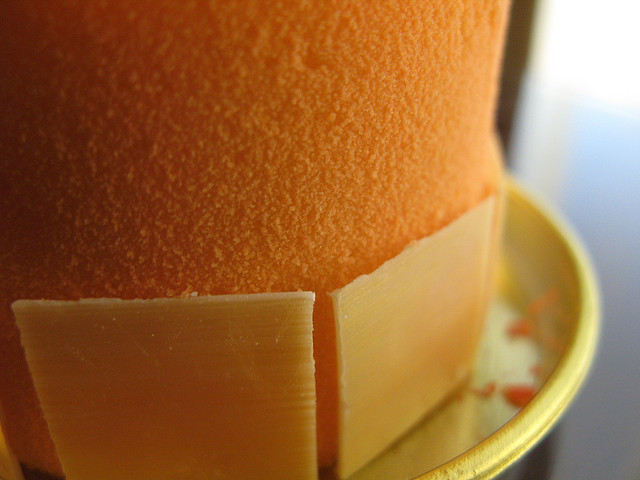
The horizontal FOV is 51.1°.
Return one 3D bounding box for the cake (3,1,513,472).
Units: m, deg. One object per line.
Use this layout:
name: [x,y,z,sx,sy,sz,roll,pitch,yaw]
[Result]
cake: [-0.044,-0.001,0.435,0.242,0.215,0.261,-4,19,-8]
